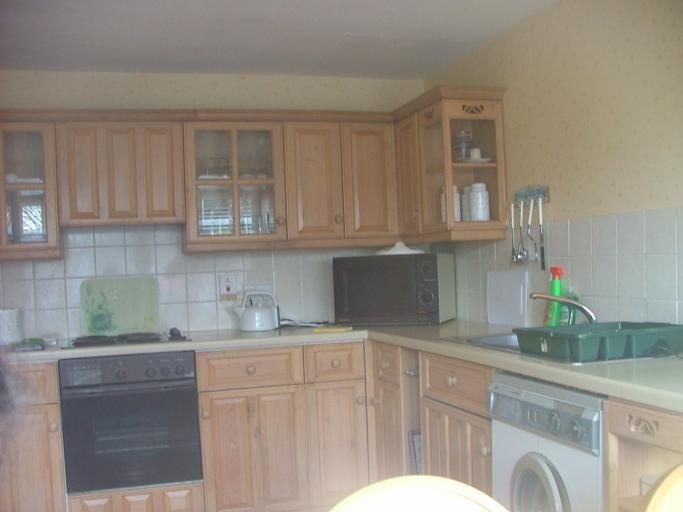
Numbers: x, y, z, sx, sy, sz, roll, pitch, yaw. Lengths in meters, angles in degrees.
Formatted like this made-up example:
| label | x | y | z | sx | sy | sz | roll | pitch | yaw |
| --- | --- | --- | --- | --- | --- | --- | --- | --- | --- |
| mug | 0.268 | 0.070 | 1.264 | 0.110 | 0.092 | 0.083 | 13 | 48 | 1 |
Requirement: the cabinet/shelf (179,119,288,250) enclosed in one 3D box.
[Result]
| label | x | y | z | sx | sy | sz | roll | pitch | yaw |
| --- | --- | --- | --- | --- | --- | --- | --- | --- | --- |
| cabinet/shelf | -0.641 | -0.409 | 3.399 | 0.724 | 0.893 | 0.332 | -1 | 2 | -6 |

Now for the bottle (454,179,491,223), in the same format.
| label | x | y | z | sx | sy | sz | roll | pitch | yaw |
| --- | --- | --- | --- | --- | --- | --- | --- | --- | --- |
| bottle | 0.705 | -0.277 | 3.114 | 0.206 | 0.226 | 0.147 | -1 | -1 | 39 |

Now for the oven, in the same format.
| label | x | y | z | sx | sy | sz | roll | pitch | yaw |
| --- | --- | --- | --- | --- | --- | --- | --- | --- | --- |
| oven | -1.082 | 0.866 | 3.241 | 0.700 | 0.638 | 0.486 | -4 | 4 | -4 |

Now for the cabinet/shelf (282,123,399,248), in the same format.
| label | x | y | z | sx | sy | sz | roll | pitch | yaw |
| --- | --- | --- | --- | --- | --- | --- | --- | --- | --- |
| cabinet/shelf | -0.036 | -0.422 | 3.498 | 0.722 | 0.822 | 0.405 | 0 | -2 | -15 |

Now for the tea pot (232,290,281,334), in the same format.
| label | x | y | z | sx | sy | sz | roll | pitch | yaw |
| --- | --- | --- | --- | --- | --- | --- | --- | --- | --- |
| tea pot | -0.503 | 0.338 | 3.526 | 0.272 | 0.239 | 0.206 | -1 | 3 | -8 |

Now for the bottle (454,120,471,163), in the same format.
| label | x | y | z | sx | sy | sz | roll | pitch | yaw |
| --- | --- | --- | --- | --- | --- | --- | --- | --- | --- |
| bottle | 0.647 | -0.598 | 3.120 | 0.104 | 0.131 | 0.020 | -3 | 1 | -16 |

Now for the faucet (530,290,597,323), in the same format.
| label | x | y | z | sx | sy | sz | roll | pitch | yaw |
| --- | --- | --- | --- | --- | --- | --- | --- | --- | --- |
| faucet | 0.991 | 0.227 | 2.614 | 0.260 | 0.139 | 0.301 | -2 | 2 | 23 |

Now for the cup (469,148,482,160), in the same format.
| label | x | y | z | sx | sy | sz | roll | pitch | yaw |
| --- | --- | --- | --- | --- | --- | --- | --- | --- | --- |
| cup | 0.713 | -0.538 | 3.136 | 0.058 | 0.066 | 0.059 | -1 | 5 | 0 |

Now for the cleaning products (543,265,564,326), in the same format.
| label | x | y | z | sx | sy | sz | roll | pitch | yaw |
| --- | --- | --- | --- | --- | --- | --- | --- | --- | --- |
| cleaning products | 1.003 | 0.192 | 2.748 | 0.064 | 0.259 | 0.045 | 2 | -2 | 27 |
